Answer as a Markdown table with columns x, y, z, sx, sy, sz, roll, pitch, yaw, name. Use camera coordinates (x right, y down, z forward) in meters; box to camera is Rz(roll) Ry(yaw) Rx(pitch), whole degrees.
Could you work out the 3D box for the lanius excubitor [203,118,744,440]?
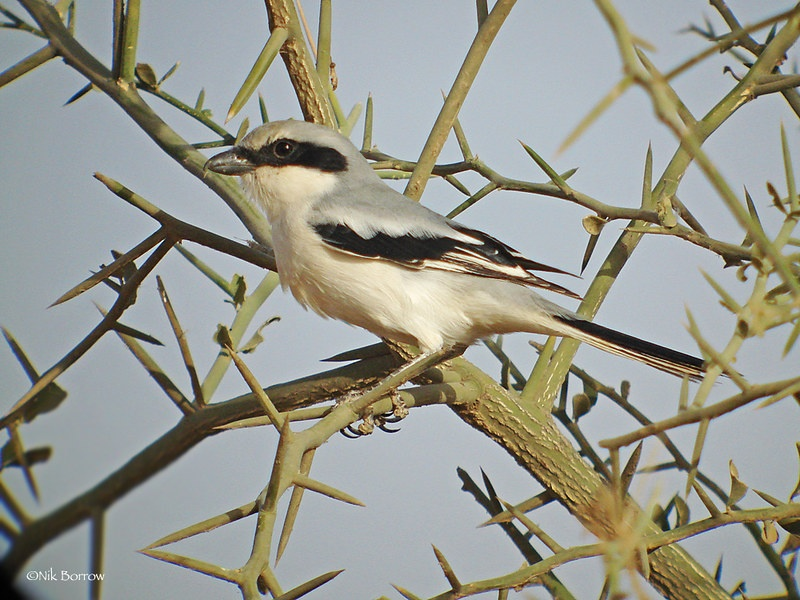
| x | y | z | sx | sy | sz | roll | pitch | yaw | name |
| --- | --- | --- | --- | --- | --- | --- | --- | --- | --- |
| 0.196 | -0.100 | 4.192 | 1.478 | 0.470 | 0.898 | 4 | -96 | -1 | lanius excubitor |
